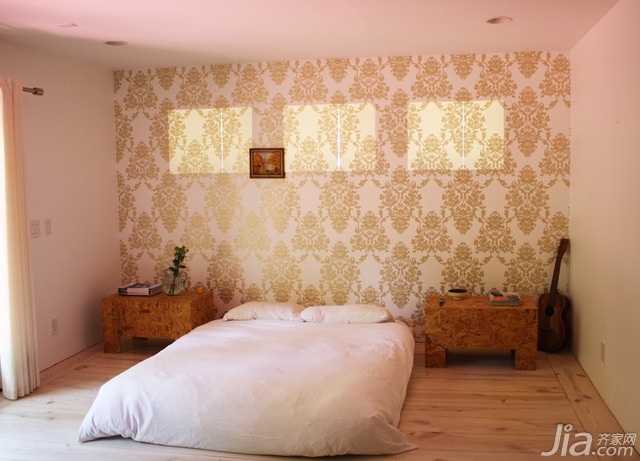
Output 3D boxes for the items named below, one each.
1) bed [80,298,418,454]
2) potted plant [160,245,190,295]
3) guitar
[{"bbox_3d":[-0.368,1.168,4.285,2.336,0.513,1.842,1,10,10],"label":"bed"},{"bbox_3d":[-1.593,0.428,5.409,0.304,0.516,0.442,-4,11,-14],"label":"potted plant"},{"bbox_3d":[2.369,0.652,4.973,0.294,1.141,0.315,5,12,27],"label":"guitar"}]
